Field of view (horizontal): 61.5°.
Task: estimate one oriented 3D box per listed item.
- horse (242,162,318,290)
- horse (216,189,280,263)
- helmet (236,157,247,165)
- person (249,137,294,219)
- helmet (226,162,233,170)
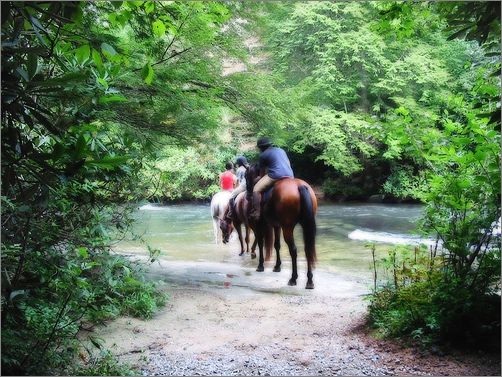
[{"bbox_3d":[0.584,0.648,8.607,1.110,2.417,2.340,-2,1,-8],"label":"horse"},{"bbox_3d":[-0.183,1.405,12.911,0.594,1.330,2.213,-1,8,33],"label":"horse"},{"bbox_3d":[-0.263,-0.698,10.615,0.266,0.180,0.212,-25,-17,40],"label":"helmet"},{"bbox_3d":[0.364,-0.254,8.737,0.755,1.648,1.192,2,-6,-35],"label":"person"},{"bbox_3d":[-0.684,-0.700,12.775,0.169,0.172,0.223,-31,40,-22],"label":"helmet"}]
